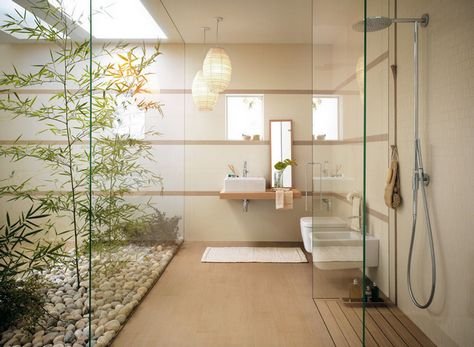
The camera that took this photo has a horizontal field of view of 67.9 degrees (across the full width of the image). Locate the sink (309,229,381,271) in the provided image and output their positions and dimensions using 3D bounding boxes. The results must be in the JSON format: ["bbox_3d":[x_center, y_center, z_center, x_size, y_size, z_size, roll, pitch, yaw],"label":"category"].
[{"bbox_3d":[0.875,0.594,2.850,0.456,0.229,0.355,0,-1,6],"label":"sink"}]

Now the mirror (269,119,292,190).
[{"bbox_3d":[0.373,-0.165,2.985,0.236,0.578,0.069,-2,4,-21],"label":"mirror"}]

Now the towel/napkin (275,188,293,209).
[{"bbox_3d":[0.402,0.213,2.982,0.152,0.168,0.058,-1,0,-8],"label":"towel/napkin"}]

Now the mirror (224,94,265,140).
[{"bbox_3d":[0.058,-0.474,2.919,0.302,0.367,0.026,-1,35,-6],"label":"mirror"}]

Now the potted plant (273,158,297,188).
[{"bbox_3d":[0.376,0.002,2.990,0.198,0.273,0.217,3,-1,-6],"label":"potted plant"}]

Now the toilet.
[{"bbox_3d":[0.694,0.495,2.924,0.352,0.249,0.248,1,5,6],"label":"toilet"}]

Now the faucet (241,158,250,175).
[{"bbox_3d":[0.067,-0.038,2.932,0.050,0.134,0.026,-1,4,1],"label":"faucet"}]

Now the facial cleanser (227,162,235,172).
[{"bbox_3d":[-0.044,-0.041,2.931,0.057,0.073,0.021,-1,4,-5],"label":"facial cleanser"}]

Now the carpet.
[{"bbox_3d":[0.110,0.693,3.007,0.824,0.162,0.072,-1,4,0],"label":"carpet"}]

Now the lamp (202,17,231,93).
[{"bbox_3d":[-0.168,-1.031,3.006,0.221,0.640,0.233,-1,-5,0],"label":"lamp"}]
